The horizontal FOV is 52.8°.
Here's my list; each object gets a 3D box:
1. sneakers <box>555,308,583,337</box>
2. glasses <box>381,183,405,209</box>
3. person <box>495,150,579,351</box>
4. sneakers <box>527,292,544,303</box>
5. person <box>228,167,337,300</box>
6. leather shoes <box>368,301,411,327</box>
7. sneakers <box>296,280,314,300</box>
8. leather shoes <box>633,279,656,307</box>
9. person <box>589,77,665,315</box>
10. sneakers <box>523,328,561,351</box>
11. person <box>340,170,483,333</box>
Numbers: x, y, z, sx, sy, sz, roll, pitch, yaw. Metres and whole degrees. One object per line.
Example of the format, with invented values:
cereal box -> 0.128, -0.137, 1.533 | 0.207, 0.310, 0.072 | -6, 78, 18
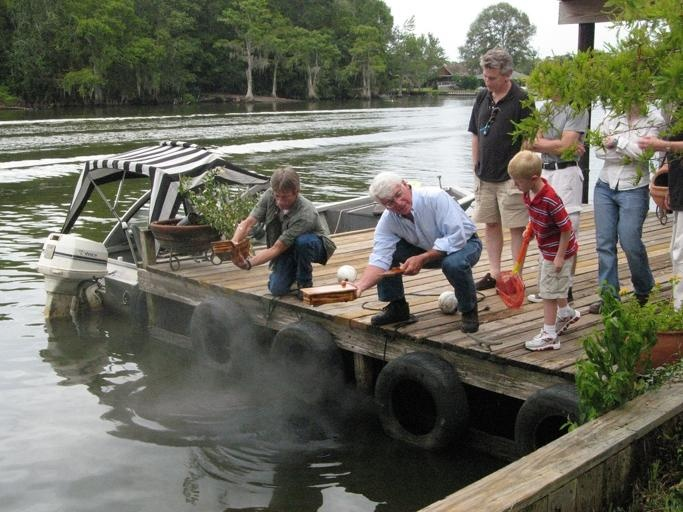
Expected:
sneakers -> 1.821, 0.537, 5.530 | 0.251, 0.118, 0.084 | -43, 18, -4
glasses -> 0.436, -0.471, 5.475 | 0.169, 0.116, 0.205 | -44, 4, 18
person -> 1.575, -0.065, 5.454 | 0.531, 1.550, 0.550 | 3, 9, 28
sneakers -> 1.799, 0.389, 6.397 | 0.089, 0.093, 0.248 | 5, 10, 23
person -> -0.638, -0.241, 7.016 | 0.897, 1.299, 0.663 | 3, 9, 26
leather shoes -> 0.415, 0.503, 6.098 | 0.385, 0.197, 0.169 | -3, 13, -4
sneakers -> -0.375, 0.320, 7.046 | 0.176, 0.198, 0.316 | -2, 7, -4
leather shoes -> 2.417, 0.289, 5.488 | 0.148, 0.138, 0.176 | -1, 43, 11
person -> 2.310, -0.518, 5.708 | 0.916, 1.885, 0.503 | 5, -1, -36
sneakers -> 1.567, 0.653, 5.425 | 0.326, 0.174, 0.129 | -2, 6, -1
person -> 0.652, -0.059, 5.861 | 1.117, 1.277, 1.123 | -4, 10, 18
